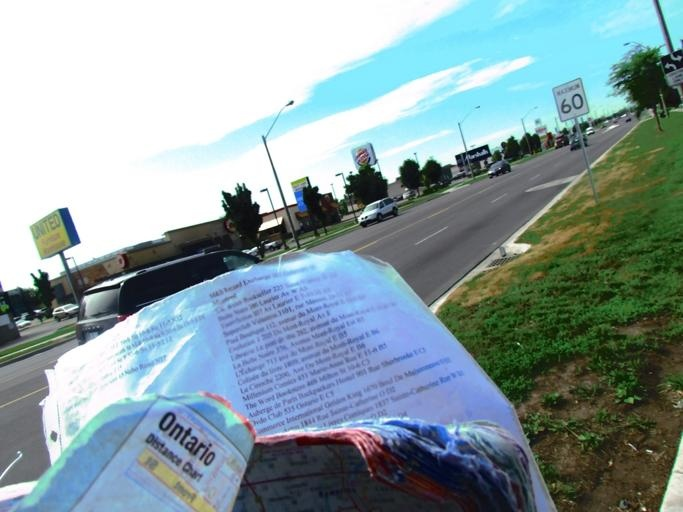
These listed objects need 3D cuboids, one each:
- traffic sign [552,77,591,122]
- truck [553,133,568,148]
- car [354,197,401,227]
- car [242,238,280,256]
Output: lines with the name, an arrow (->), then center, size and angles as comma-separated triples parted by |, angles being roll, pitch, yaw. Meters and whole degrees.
traffic sign -> 5.430, -3.673, 10.747 | 0.599, 0.862, 0.361 | -14, 8, 22
truck -> 38.311, -20.123, 79.725 | 2.407, 2.356, 4.225 | -7, 16, 38
car -> 2.788, -3.331, 34.417 | 3.042, 1.644, 1.625 | -18, 5, -43
car -> -8.293, -0.933, 46.826 | 3.597, 1.382, 1.787 | -21, 4, 42
